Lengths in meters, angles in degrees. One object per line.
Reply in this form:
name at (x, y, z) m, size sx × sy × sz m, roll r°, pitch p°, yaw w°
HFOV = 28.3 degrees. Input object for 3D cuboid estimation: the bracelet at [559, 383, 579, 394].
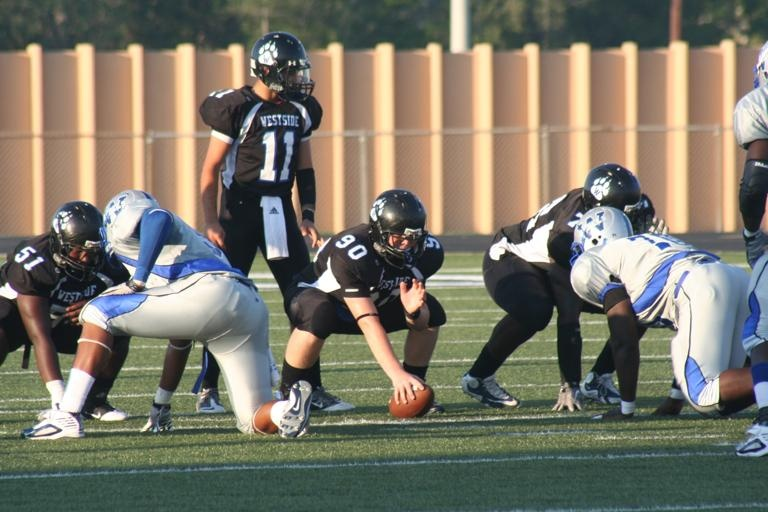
bracelet at (1.609, 1.161, 13.329) m, size 0.143 × 0.094 × 0.075 m, roll 0°, pitch 4°, yaw 11°

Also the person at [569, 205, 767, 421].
person at (2.350, 0.652, 12.731) m, size 1.454 × 1.556 × 0.629 m, roll 3°, pitch 14°, yaw 14°

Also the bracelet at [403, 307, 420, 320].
bracelet at (0.232, 0.500, 13.013) m, size 0.100 × 0.059 × 0.093 m, roll -1°, pitch 2°, yaw 43°

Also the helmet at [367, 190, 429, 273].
helmet at (0.114, -0.229, 12.946) m, size 0.498 × 0.628 × 0.263 m, roll -1°, pitch 14°, yaw -2°

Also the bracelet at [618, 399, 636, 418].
bracelet at (2.044, 1.310, 12.926) m, size 0.127 × 0.142 × 0.157 m, roll 1°, pitch -3°, yaw -8°

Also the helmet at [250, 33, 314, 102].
helmet at (-0.808, -1.707, 13.784) m, size 0.625 × 0.521 × 0.492 m, roll 8°, pitch 13°, yaw 23°

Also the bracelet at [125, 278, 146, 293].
bracelet at (-2.052, 0.250, 12.546) m, size 0.155 × 0.080 × 0.071 m, roll -5°, pitch 2°, yaw 0°

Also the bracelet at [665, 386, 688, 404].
bracelet at (2.504, 1.168, 13.029) m, size 0.186 × 0.133 × 0.114 m, roll 0°, pitch -3°, yaw 0°

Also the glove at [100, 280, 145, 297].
glove at (-2.155, 0.275, 12.564) m, size 0.350 × 0.147 × 0.131 m, roll -1°, pitch -6°, yaw 5°

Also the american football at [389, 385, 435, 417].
american football at (0.228, 1.272, 12.862) m, size 0.331 × 0.199 × 0.250 m, roll -23°, pitch -13°, yaw 6°

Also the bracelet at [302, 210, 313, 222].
bracelet at (-0.697, -0.365, 13.928) m, size 0.101 × 0.109 × 0.103 m, roll -3°, pitch -8°, yaw 20°
